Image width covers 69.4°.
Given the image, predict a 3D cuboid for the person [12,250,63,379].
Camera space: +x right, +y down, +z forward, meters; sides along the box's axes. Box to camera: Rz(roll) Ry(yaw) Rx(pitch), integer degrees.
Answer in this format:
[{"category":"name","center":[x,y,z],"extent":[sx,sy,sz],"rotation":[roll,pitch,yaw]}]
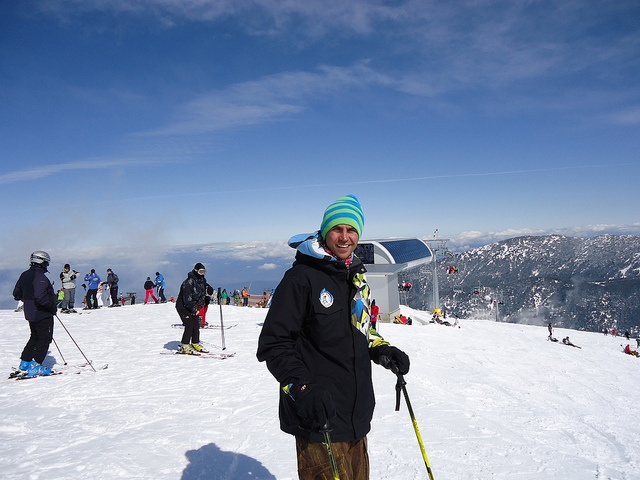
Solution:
[{"category":"person","center":[-8.088,2.180,13.204],"extent":[0.967,3.650,1.177],"rotation":[0,-1,-34]}]

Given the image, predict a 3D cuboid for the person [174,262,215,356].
[{"category":"person","center":[-4.354,2.404,15.780],"extent":[0.986,3.181,1.483],"rotation":[0,-1,-15]}]

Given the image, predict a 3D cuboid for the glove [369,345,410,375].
[{"category":"glove","center":[1.123,1.857,7.344],"extent":[0.576,0.266,0.414],"rotation":[26,-15,21]}]
